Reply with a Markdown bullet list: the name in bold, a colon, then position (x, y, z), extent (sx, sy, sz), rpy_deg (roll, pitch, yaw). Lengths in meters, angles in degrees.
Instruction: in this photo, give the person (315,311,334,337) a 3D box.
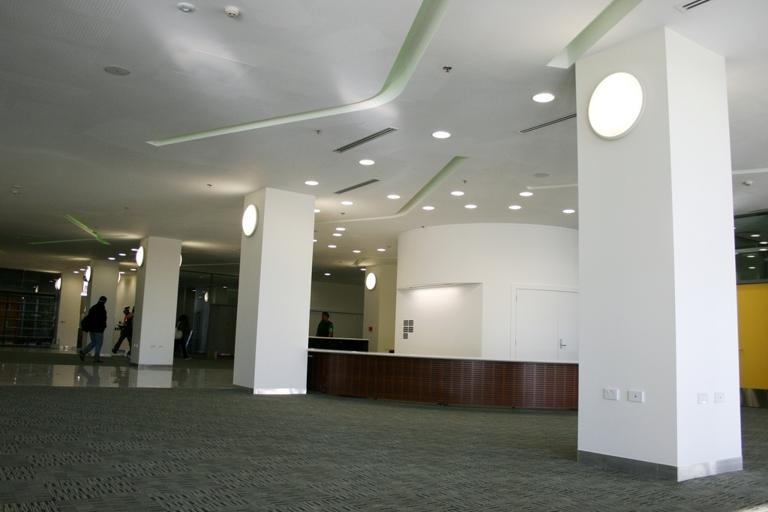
- **person**: position (-2.486, 2.904, 21.427), extent (0.512, 1.076, 1.909), rpy_deg (5, -11, -11)
